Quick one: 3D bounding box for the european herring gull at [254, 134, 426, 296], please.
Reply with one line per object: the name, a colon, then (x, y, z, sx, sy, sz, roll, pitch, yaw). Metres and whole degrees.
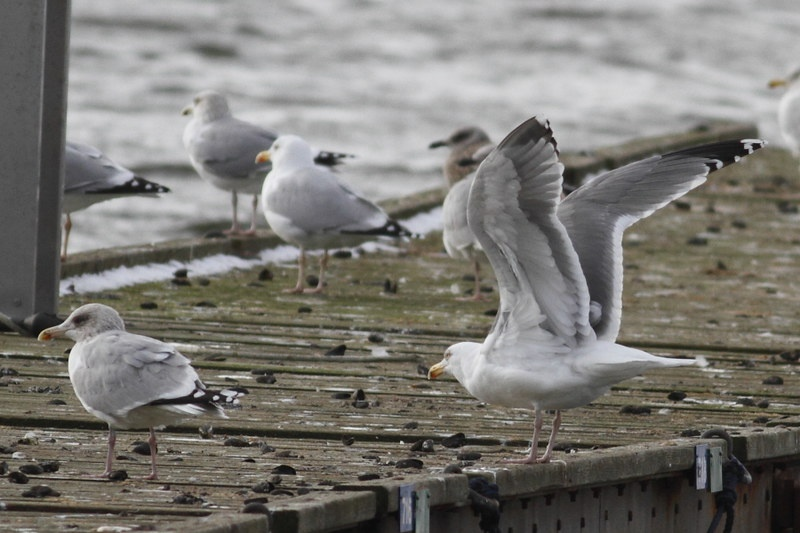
european herring gull: (-0.915, -0.621, 21.529, 1.686, 1.841, 0.806, 5, 7, 15)

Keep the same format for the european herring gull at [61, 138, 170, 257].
european herring gull: (-3.405, -0.751, 21.185, 1.038, 1.383, 0.882, 2, 7, -9)
